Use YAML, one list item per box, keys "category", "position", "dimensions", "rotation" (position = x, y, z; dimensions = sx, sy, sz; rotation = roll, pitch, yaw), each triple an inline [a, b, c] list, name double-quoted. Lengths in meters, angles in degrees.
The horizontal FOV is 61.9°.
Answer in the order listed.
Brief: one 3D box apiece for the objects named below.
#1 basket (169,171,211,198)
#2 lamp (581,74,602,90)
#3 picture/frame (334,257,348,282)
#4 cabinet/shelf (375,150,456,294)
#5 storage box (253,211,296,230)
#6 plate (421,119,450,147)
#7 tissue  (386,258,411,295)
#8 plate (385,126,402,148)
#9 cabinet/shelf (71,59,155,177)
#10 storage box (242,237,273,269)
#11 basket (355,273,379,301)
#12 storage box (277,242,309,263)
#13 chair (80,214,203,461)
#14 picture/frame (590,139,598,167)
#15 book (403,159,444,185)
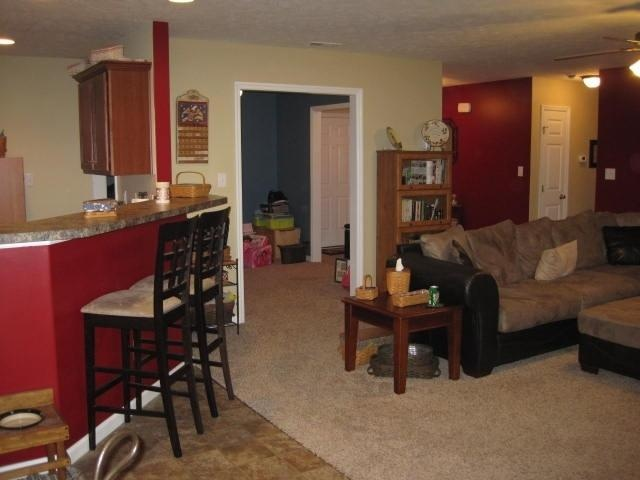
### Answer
- category: "basket"
  position: [-1.216, -0.516, 4.882]
  dimensions: [0.418, 0.249, 0.329]
  rotation: [0, 1, -1]
- category: "lamp"
  position: [3.881, -2.284, 7.582]
  dimensions: [0.227, 0.211, 0.648]
  rotation: [5, 11, 28]
- category: "picture/frame"
  position: [0.296, 0.422, 7.507]
  dimensions: [0.028, 0.389, 0.341]
  rotation: [2, 2, -33]
- category: "cabinet/shelf"
  position: [1.400, -0.203, 6.806]
  dimensions: [0.813, 1.620, 0.435]
  rotation: [-4, 14, 0]
- category: "storage box"
  position: [-0.756, -0.352, 9.238]
  dimensions: [0.363, 0.206, 0.503]
  rotation: [-1, 5, -31]
- category: "plate"
  position: [1.481, -1.378, 6.874]
  dimensions: [0.341, 0.361, 0.297]
  rotation: [1, 10, 10]
- category: "tissue "
  position: [0.646, 0.292, 4.346]
  dimensions: [0.205, 0.276, 0.198]
  rotation: [-3, 7, -13]
- category: "plate"
  position: [0.900, -1.267, 6.567]
  dimensions: [0.162, 0.278, 0.227]
  rotation: [-7, 12, -33]
- category: "cabinet/shelf"
  position: [-2.045, -1.171, 5.204]
  dimensions: [0.986, 1.041, 0.414]
  rotation: [6, 13, 33]
- category: "storage box"
  position: [-1.054, 0.199, 8.923]
  dimensions: [0.469, 0.457, 0.387]
  rotation: [-14, 15, -37]
- category: "basket"
  position: [0.401, 0.404, 4.438]
  dimensions: [0.208, 0.231, 0.247]
  rotation: [0, 2, 13]
- category: "storage box"
  position: [-0.438, 0.231, 8.996]
  dimensions: [0.412, 0.255, 0.276]
  rotation: [-2, 3, -31]
- category: "chair"
  position: [-1.063, 0.554, 3.287]
  dimensions: [0.621, 1.326, 0.546]
  rotation: [1, 3, 9]
- category: "picture/frame"
  position: [4.805, -1.522, 9.353]
  dimensions: [0.140, 0.489, 0.347]
  rotation: [6, 12, 29]
- category: "book"
  position: [1.241, -0.840, 6.502]
  dimensions: [0.342, 0.288, 0.118]
  rotation: [1, 9, -5]
